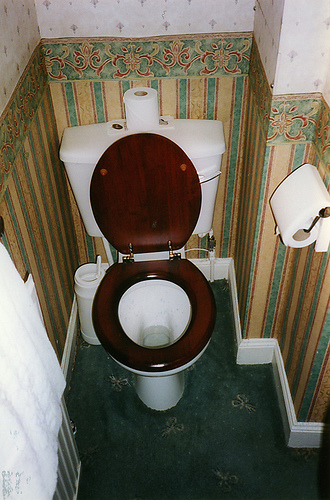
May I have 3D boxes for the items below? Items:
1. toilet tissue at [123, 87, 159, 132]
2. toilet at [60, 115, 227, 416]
[{"bbox_3d":[-0.075,-0.459,1.287,0.122,0.115,0.128,-4,53,-1],"label":"toilet tissue"},{"bbox_3d":[-0.055,0.149,1.458,0.516,0.980,0.818,-4,40,-4],"label":"toilet"}]
